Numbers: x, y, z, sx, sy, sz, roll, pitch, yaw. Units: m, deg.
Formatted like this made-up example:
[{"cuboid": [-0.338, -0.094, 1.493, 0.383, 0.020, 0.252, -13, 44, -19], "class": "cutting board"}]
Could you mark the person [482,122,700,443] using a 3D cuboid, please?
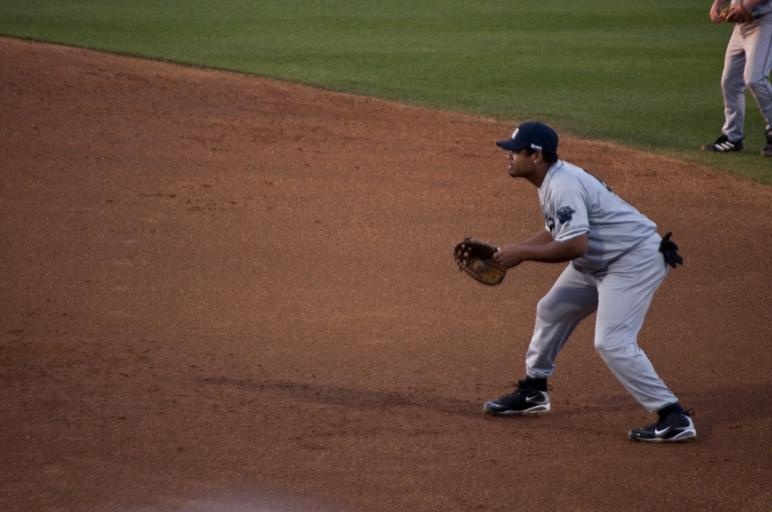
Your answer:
[{"cuboid": [1.489, 0.197, 9.082, 1.527, 2.185, 0.753, 5, 25, 8], "class": "person"}]

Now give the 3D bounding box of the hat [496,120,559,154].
[{"cuboid": [1.035, -0.874, 9.104, 0.513, 0.228, 0.301, 5, 12, -8], "class": "hat"}]

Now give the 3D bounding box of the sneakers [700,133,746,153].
[{"cuboid": [3.131, -1.039, 11.470, 0.434, 0.156, 0.148, 2, 3, 2], "class": "sneakers"}]

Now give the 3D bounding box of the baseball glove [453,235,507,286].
[{"cuboid": [0.694, 0.031, 9.305, 0.417, 0.294, 0.131, 32, 14, -2], "class": "baseball glove"}]
